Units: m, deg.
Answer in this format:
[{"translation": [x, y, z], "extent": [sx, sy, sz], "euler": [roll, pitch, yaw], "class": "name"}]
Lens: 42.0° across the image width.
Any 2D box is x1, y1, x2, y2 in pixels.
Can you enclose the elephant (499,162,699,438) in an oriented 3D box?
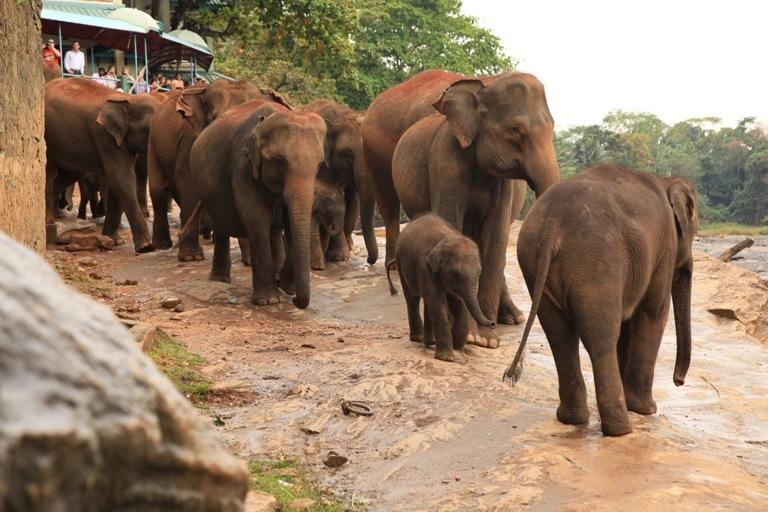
[{"translation": [1.829, 0.302, 7.884], "extent": [1.725, 2.054, 0.864], "euler": [-1, 7, -29], "class": "elephant"}]
